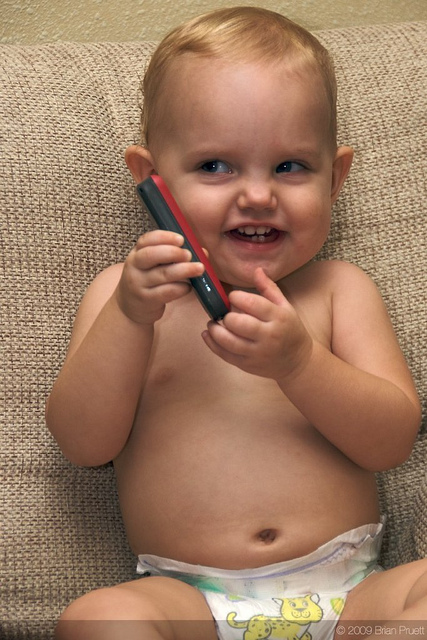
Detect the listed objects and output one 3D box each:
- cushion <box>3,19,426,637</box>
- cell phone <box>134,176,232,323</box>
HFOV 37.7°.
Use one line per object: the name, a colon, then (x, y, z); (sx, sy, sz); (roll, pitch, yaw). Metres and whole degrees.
cushion: (-0.129, -0.048, 1.140); (1.038, 0.284, 0.872); (-2, 81, -17)
cell phone: (-0.031, -0.082, 0.733); (0.034, 0.089, 0.174); (-30, 73, -4)
